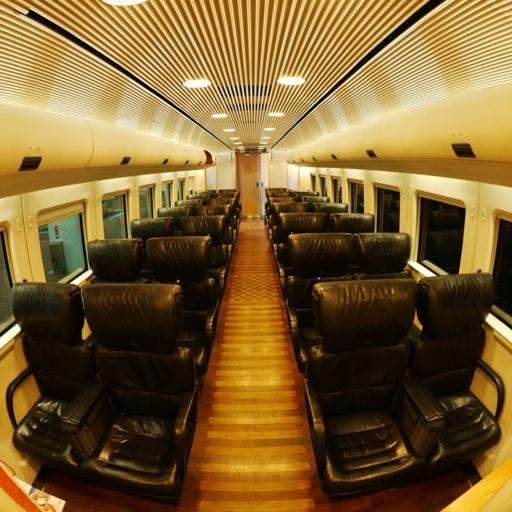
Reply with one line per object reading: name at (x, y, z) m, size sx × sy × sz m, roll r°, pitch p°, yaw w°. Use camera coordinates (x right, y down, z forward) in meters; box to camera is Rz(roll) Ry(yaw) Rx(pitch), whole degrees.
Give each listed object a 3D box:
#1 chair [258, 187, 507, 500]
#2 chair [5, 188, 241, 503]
chair at (0.965, 0.552, 3.454) m, size 1.297 × 1.214 × 2.234 m, roll -5°, pitch 8°, yaw -2°
chair at (-1.118, 0.626, 3.624) m, size 1.388 × 1.353 × 2.439 m, roll 0°, pitch 12°, yaw 2°
